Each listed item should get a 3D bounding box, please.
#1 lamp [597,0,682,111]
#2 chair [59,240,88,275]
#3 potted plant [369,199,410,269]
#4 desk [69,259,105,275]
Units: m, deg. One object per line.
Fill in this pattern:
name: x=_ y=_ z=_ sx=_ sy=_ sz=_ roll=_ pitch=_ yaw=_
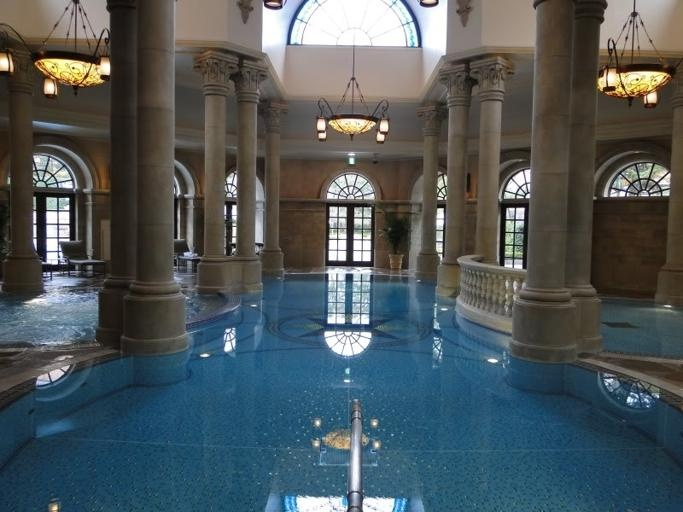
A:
lamp: x=5.557 y=-3.905 z=9.680 sx=1.095 sy=2.372 sz=2.604 roll=2 pitch=5 yaw=30
chair: x=-8.472 y=0.078 z=16.249 sx=0.834 sy=1.240 sz=1.102 roll=-6 pitch=12 yaw=-44
potted plant: x=2.112 y=-0.888 z=20.858 sx=1.545 sy=2.816 sz=1.433 roll=0 pitch=4 yaw=4
desk: x=-8.204 y=0.517 z=16.508 sx=1.110 sy=0.743 sz=0.825 roll=3 pitch=4 yaw=38
